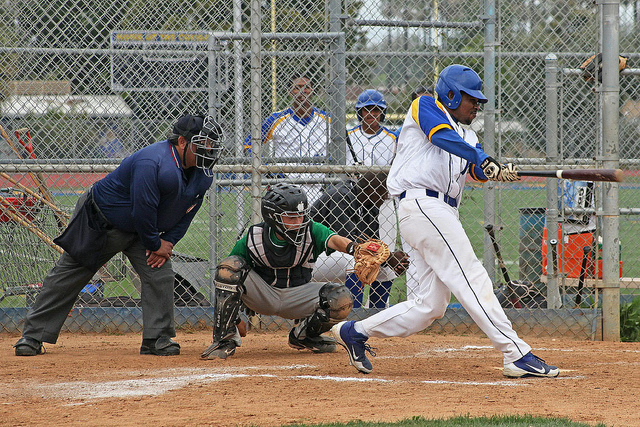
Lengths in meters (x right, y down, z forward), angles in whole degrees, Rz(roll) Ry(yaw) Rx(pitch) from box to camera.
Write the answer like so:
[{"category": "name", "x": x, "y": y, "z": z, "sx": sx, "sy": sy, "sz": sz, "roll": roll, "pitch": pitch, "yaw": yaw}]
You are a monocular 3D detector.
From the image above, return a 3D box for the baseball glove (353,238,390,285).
[{"category": "baseball glove", "x": 0.425, "y": 0.405, "z": 8.270, "sx": 0.326, "sy": 0.407, "sz": 0.138, "roll": 35, "pitch": -20, "yaw": 18}]

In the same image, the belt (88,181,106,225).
[{"category": "belt", "x": -2.137, "y": -0.102, "z": 8.837, "sx": 0.151, "sy": 0.391, "sz": 0.342, "roll": -2, "pitch": 7, "yaw": -15}]

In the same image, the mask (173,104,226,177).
[{"category": "mask", "x": -1.119, "y": -0.658, "z": 8.583, "sx": 0.429, "sy": 0.478, "sz": 0.183, "roll": -2, "pitch": 7, "yaw": -16}]

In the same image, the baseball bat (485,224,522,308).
[{"category": "baseball bat", "x": 2.131, "y": 0.632, "z": 10.735, "sx": 0.126, "sy": 0.925, "sz": 0.100, "roll": -22, "pitch": 2, "yaw": -3}]

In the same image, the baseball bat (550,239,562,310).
[{"category": "baseball bat", "x": 2.531, "y": 0.658, "z": 9.842, "sx": 0.081, "sy": 0.792, "sz": 0.078, "roll": -1, "pitch": 2, "yaw": -13}]
